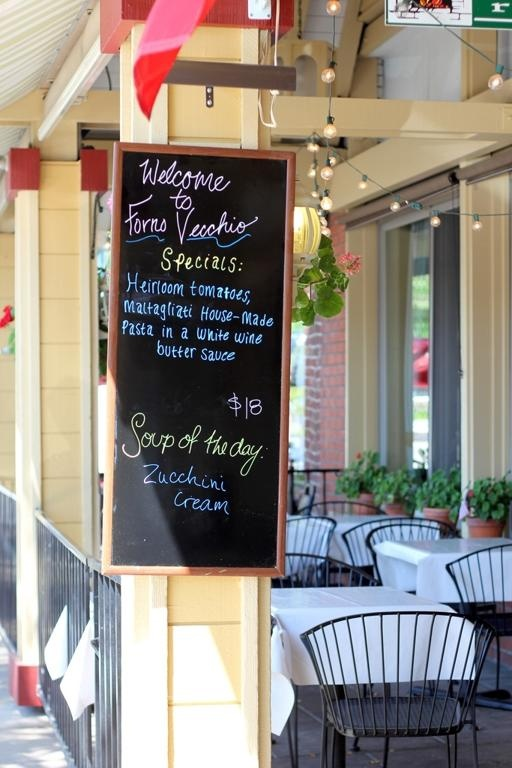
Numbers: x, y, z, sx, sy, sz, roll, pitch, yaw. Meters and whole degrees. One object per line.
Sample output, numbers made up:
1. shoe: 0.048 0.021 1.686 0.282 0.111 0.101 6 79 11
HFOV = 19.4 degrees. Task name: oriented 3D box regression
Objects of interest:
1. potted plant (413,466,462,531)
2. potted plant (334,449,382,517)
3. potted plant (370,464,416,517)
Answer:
1. potted plant: 0.998 0.605 7.978 0.242 0.367 0.272 9 -12 -38
2. potted plant: 0.645 0.607 9.279 0.308 0.456 0.392 2 -5 -6
3. potted plant: 0.825 0.609 8.837 0.239 0.255 0.248 5 -6 -23
